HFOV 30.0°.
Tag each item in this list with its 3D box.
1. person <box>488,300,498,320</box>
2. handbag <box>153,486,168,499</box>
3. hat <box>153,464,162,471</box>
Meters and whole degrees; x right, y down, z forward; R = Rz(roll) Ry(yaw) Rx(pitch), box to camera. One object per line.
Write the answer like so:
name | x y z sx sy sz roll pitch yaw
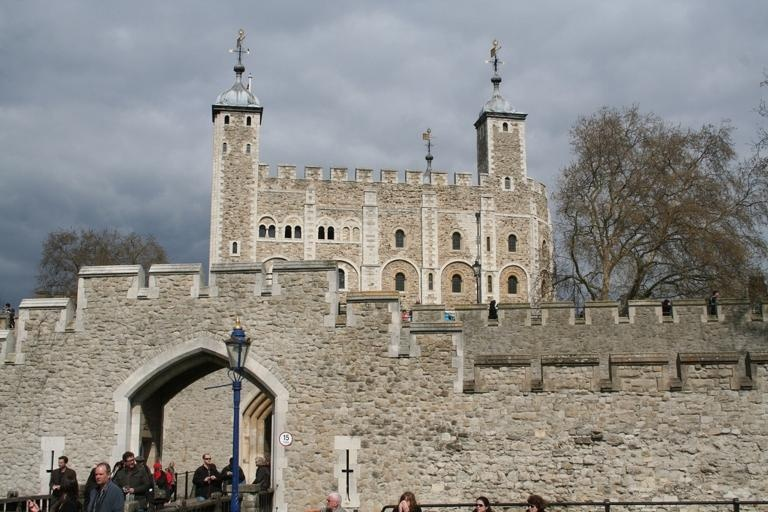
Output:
person | 4.125 1.971 54.036 0.545 0.827 0.588 -2 -4 1
handbag | -6.580 6.986 42.380 0.102 0.358 0.577 -37 -29 21
hat | -6.816 6.341 43.307 0.264 0.190 0.264 -1 -3 21
